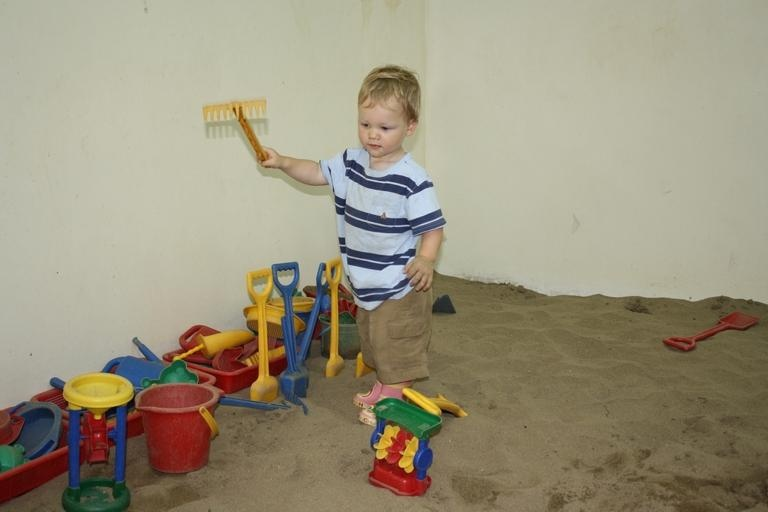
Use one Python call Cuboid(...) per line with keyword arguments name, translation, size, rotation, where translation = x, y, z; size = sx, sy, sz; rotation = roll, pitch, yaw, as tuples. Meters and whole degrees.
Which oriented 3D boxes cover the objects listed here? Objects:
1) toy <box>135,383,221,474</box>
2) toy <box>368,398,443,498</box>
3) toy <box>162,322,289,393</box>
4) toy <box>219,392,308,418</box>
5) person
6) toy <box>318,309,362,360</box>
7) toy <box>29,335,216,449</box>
Cuboid(name="toy", translation=(-0.998, 0.833, 3.436), size=(0.405, 0.326, 0.414), rotation=(11, 13, 36))
Cuboid(name="toy", translation=(0.085, 0.924, 3.289), size=(0.380, 0.392, 0.259), rotation=(2, 17, 13))
Cuboid(name="toy", translation=(-0.906, 0.625, 4.081), size=(0.464, 0.147, 0.464), rotation=(11, 13, 41))
Cuboid(name="toy", translation=(-0.681, 0.835, 3.777), size=(0.599, 0.093, 0.077), rotation=(10, 2, 5))
Cuboid(name="person", translation=(-0.025, -0.062, 3.651), size=(0.520, 1.872, 0.725), rotation=(-11, 19, -28))
Cuboid(name="toy", translation=(-0.284, 0.507, 4.453), size=(0.286, 0.280, 0.286), rotation=(0, 5, -1))
Cuboid(name="toy", translation=(-1.388, 0.715, 3.472), size=(0.643, 0.242, 0.524), rotation=(0, 5, -38))
